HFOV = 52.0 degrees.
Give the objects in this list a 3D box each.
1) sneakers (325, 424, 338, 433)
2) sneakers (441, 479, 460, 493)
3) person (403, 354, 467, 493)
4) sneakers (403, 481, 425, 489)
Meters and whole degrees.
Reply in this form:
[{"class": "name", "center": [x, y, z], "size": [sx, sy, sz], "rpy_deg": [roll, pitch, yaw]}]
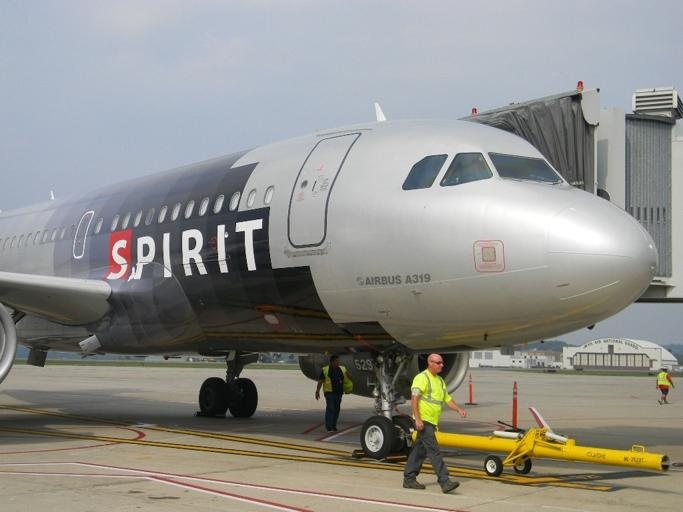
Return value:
[{"class": "sneakers", "center": [-0.240, 3.920, 15.828], "size": [0.330, 0.193, 0.104], "rpy_deg": [-2, -1, 2]}, {"class": "sneakers", "center": [1.508, 3.243, 9.788], "size": [0.234, 0.209, 0.377], "rpy_deg": [-2, -4, 5]}, {"class": "person", "center": [1.287, 2.445, 10.305], "size": [0.844, 1.953, 1.233], "rpy_deg": [-2, -5, 3]}, {"class": "sneakers", "center": [1.031, 3.315, 10.089], "size": [0.303, 0.118, 0.113], "rpy_deg": [0, -5, 5]}]
